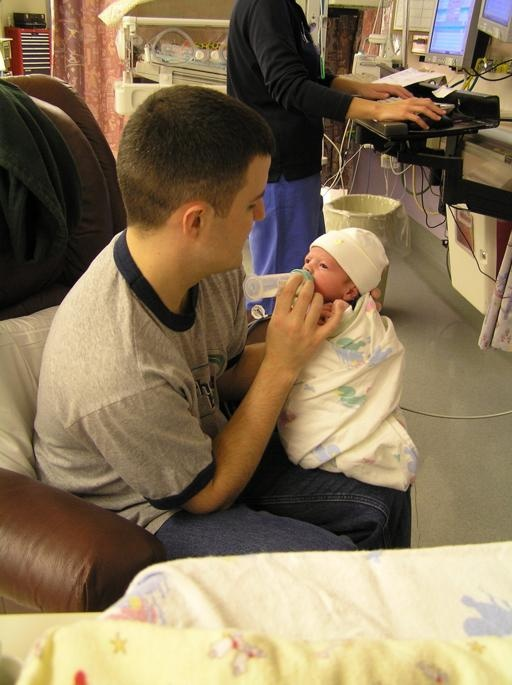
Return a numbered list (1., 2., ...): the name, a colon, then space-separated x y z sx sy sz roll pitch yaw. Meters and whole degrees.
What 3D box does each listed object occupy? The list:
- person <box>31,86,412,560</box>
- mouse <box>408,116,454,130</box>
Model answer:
1. person: -0.063 -0.036 0.946 0.509 0.739 0.558 21 31 31
2. mouse: 0.577 -0.720 1.756 0.092 0.024 0.068 -12 33 -5
